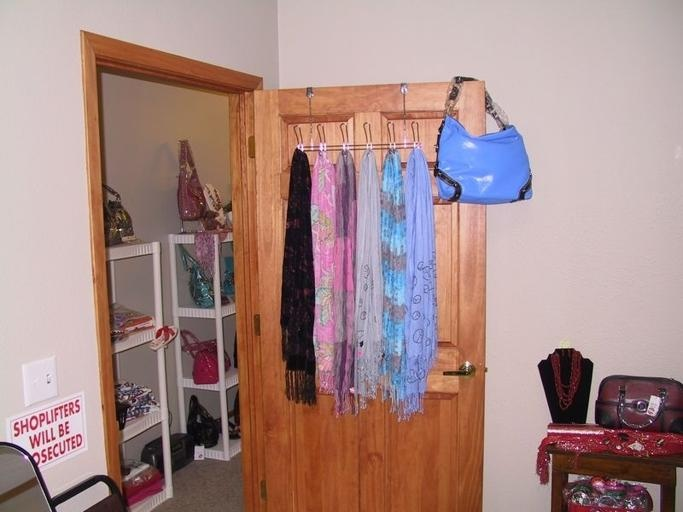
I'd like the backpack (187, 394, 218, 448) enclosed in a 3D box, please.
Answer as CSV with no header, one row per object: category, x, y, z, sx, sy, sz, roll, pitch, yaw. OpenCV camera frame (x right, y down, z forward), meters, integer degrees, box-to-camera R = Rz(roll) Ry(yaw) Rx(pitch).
backpack,-1.003,1.139,4.272,0.196,0.382,0.142,-22,8,-37

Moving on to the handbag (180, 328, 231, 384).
handbag,-0.938,0.659,4.235,0.232,0.398,0.396,-8,7,0

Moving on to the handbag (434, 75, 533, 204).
handbag,0.655,-0.551,2.865,0.484,0.694,0.272,0,-5,-8

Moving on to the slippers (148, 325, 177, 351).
slippers,-1.070,0.510,3.665,0.098,0.059,0.182,23,56,25

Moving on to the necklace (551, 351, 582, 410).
necklace,1.125,0.621,3.068,0.149,0.307,0.061,2,8,22

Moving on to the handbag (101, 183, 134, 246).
handbag,-1.288,-0.231,3.442,0.124,0.332,0.239,2,8,18

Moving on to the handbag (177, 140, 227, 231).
handbag,-0.920,-0.477,4.153,0.171,0.600,0.395,7,11,44

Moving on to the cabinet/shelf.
cabinet/shelf,-1.045,0.726,3.764,0.498,1.563,1.587,0,0,13
